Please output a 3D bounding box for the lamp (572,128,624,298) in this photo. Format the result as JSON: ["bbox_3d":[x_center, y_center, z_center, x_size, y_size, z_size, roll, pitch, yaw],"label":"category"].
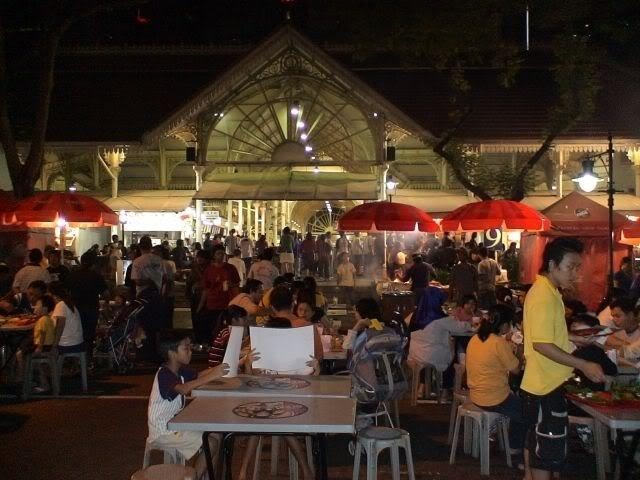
[{"bbox_3d":[5.907,-0.399,12.828,0.825,3.499,0.958,-21,20,-39],"label":"lamp"}]

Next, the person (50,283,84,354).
[{"bbox_3d":[-4.676,1.392,10.945,0.686,1.209,0.644,-4,-3,-18],"label":"person"}]

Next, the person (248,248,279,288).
[{"bbox_3d":[-1.376,0.657,14.590,0.654,1.345,0.420,7,12,9],"label":"person"}]

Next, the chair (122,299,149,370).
[{"bbox_3d":[-3.561,1.807,11.580,0.408,1.226,0.887,5,-6,-4],"label":"chair"}]

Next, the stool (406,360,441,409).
[{"bbox_3d":[1.849,2.419,10.636,0.679,0.866,0.690,-1,2,-2],"label":"stool"}]

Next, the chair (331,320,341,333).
[{"bbox_3d":[0.286,1.571,11.060,0.115,0.191,0.181,-2,-10,18],"label":"chair"}]

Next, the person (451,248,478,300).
[{"bbox_3d":[3.555,1.121,14.777,0.648,1.830,0.408,-3,21,11],"label":"person"}]

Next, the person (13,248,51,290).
[{"bbox_3d":[-6.090,0.611,12.692,0.740,1.282,0.407,3,-3,-23],"label":"person"}]

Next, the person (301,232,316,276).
[{"bbox_3d":[-0.427,0.473,21.669,0.547,1.485,1.089,0,-4,-2],"label":"person"}]

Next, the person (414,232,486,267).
[{"bbox_3d":[3.918,0.343,18.500,1.343,1.007,1.809,-4,3,-10],"label":"person"}]

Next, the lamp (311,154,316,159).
[{"bbox_3d":[-0.258,-3.135,22.920,0.148,0.086,0.103,-3,-1,-7],"label":"lamp"}]

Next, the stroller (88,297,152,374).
[{"bbox_3d":[-3.751,1.976,11.894,1.274,1.769,0.623,2,-3,42],"label":"stroller"}]

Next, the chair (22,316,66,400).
[{"bbox_3d":[-4.961,1.951,10.743,0.618,1.482,0.913,1,-4,-29],"label":"chair"}]

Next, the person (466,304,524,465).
[{"bbox_3d":[2.263,1.791,7.844,0.686,1.882,0.343,-2,-4,18],"label":"person"}]

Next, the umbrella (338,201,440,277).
[{"bbox_3d":[2.031,0.126,18.025,2.700,1.761,2.692,0,-3,4],"label":"umbrella"}]

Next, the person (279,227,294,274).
[{"bbox_3d":[-1.201,0.329,21.253,0.482,1.598,1.659,0,-4,-4],"label":"person"}]

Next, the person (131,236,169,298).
[{"bbox_3d":[-3.419,0.491,11.939,0.631,1.143,0.711,1,-4,-18],"label":"person"}]

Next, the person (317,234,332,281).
[{"bbox_3d":[0.160,0.601,22.365,0.519,1.684,1.105,-1,-4,0],"label":"person"}]

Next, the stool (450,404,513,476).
[{"bbox_3d":[2.096,2.582,8.034,0.758,0.839,0.764,-7,-7,44],"label":"stool"}]
